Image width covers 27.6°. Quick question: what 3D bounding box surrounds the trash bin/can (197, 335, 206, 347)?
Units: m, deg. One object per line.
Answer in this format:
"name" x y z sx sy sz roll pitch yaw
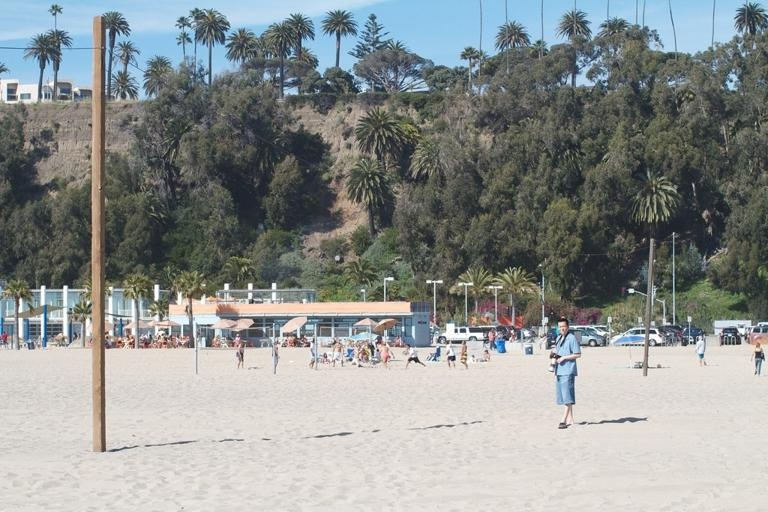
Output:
"trash bin/can" -21.637 10.229 186.921 1.119 2.015 1.112 1 -6 -7
